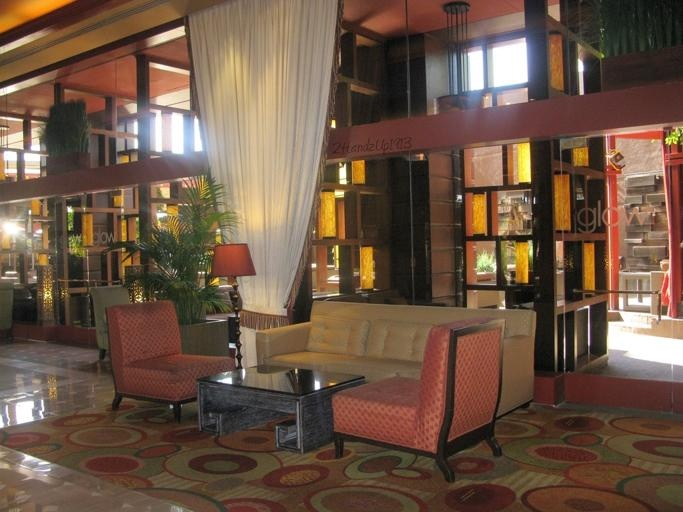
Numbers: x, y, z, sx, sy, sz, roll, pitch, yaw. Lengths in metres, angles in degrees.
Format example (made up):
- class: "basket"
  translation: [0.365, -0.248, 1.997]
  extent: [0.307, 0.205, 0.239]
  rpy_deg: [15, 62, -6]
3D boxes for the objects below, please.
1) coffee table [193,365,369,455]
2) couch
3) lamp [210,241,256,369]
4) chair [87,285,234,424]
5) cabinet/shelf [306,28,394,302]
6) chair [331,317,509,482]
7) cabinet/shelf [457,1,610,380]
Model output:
- class: "coffee table"
  translation: [-0.457, 1.217, 4.992]
  extent: [1.044, 0.374, 0.724]
  rpy_deg: [2, 5, 39]
- class: "couch"
  translation: [0.670, 1.018, 4.991]
  extent: [2.103, 0.859, 1.478]
  rpy_deg: [0, -1, 40]
- class: "lamp"
  translation: [-1.142, 0.590, 6.220]
  extent: [0.470, 1.396, 0.428]
  rpy_deg: [-6, 8, -26]
- class: "chair"
  translation: [-1.666, 0.963, 6.125]
  extent: [1.330, 1.126, 1.233]
  rpy_deg: [-1, -1, 24]
- class: "cabinet/shelf"
  translation: [0.107, -1.026, 6.446]
  extent: [0.951, 2.999, 0.321]
  rpy_deg: [0, 6, 24]
- class: "chair"
  translation: [0.612, 1.090, 4.668]
  extent: [1.027, 0.954, 1.251]
  rpy_deg: [1, -4, -44]
- class: "cabinet/shelf"
  translation: [1.948, -0.673, 5.625]
  extent: [1.237, 3.655, 0.306]
  rpy_deg: [-1, 6, 20]
